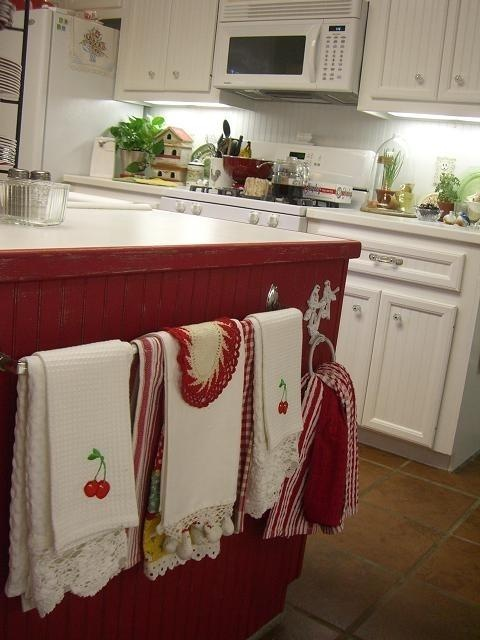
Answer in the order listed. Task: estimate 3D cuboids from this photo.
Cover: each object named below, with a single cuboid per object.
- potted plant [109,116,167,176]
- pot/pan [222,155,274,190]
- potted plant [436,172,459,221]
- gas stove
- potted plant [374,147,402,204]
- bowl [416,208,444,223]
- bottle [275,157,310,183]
[{"bbox_3d":[-0.701,-1.194,3.469,0.444,0.467,0.432,6,14,22],"label":"potted plant"},{"bbox_3d":[0.051,-0.839,2.850,0.186,0.106,0.267,-7,18,-32],"label":"pot/pan"},{"bbox_3d":[1.100,-0.658,2.522,0.112,0.236,0.105,7,6,24],"label":"potted plant"},{"bbox_3d":[-0.037,-0.614,2.603,1.030,0.222,0.133,8,7,32],"label":"gas stove"},{"bbox_3d":[0.820,-0.779,2.623,0.145,0.315,0.115,4,6,2],"label":"potted plant"},{"bbox_3d":[0.942,-0.521,2.356,0.083,0.042,0.084,0,8,0],"label":"bowl"},{"bbox_3d":[0.294,-0.843,2.704,0.207,0.177,0.157,4,6,-1],"label":"bottle"}]
